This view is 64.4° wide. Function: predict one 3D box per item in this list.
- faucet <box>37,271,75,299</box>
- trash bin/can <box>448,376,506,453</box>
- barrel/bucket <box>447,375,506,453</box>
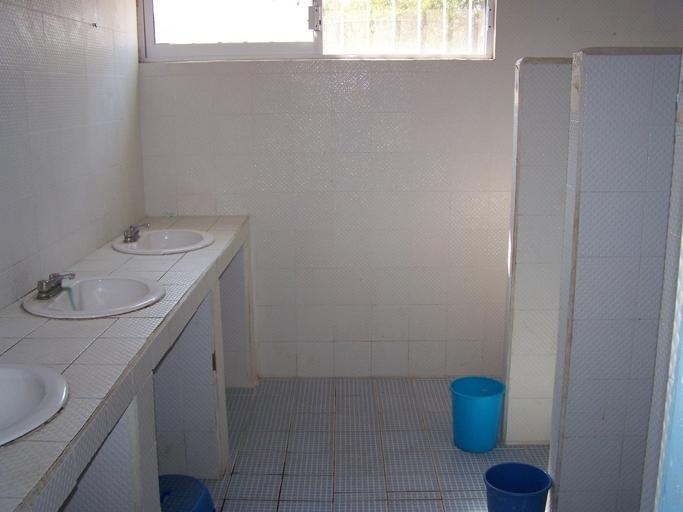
[{"bbox_3d":[-1.250,0.128,2.439,0.079,0.100,0.250,2,5,1],"label":"faucet"},{"bbox_3d":[0.771,0.917,3.283,0.348,0.403,0.400,0,9,10],"label":"trash bin/can"},{"bbox_3d":[0.792,0.950,3.346,0.347,0.404,0.400,0,8,11],"label":"barrel/bucket"}]
